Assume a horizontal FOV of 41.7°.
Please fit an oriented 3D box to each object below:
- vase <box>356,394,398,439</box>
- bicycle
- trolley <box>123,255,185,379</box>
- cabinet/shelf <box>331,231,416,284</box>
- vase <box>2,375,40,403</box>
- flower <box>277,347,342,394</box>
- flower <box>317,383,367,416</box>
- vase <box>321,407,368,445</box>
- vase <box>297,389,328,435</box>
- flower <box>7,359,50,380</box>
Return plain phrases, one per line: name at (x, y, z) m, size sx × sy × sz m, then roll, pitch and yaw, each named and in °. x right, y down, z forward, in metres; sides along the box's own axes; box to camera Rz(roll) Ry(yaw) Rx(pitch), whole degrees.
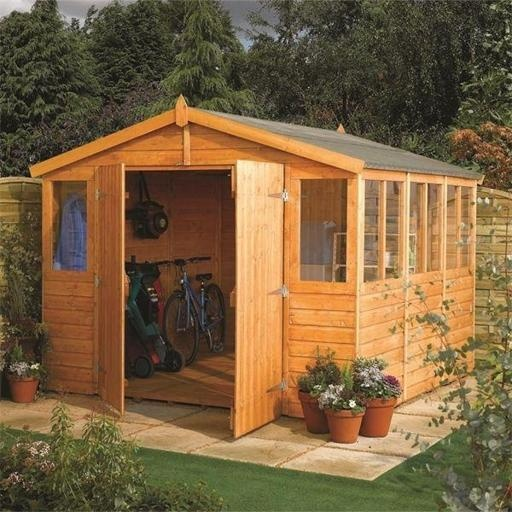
vase at (1.128, 1.513, 6.452) m, size 0.431 × 0.345 × 0.425 m, roll 1°, pitch -2°, yaw 1°
bicycle at (-0.895, 0.763, 9.991) m, size 1.024 × 1.441 × 2.259 m, roll -8°, pitch -2°, yaw 17°
trolley at (-1.355, 0.837, 8.700) m, size 0.704 × 1.520 × 0.531 m, roll 0°, pitch 1°, yaw -18°
cabinet/shelf at (1.238, -0.029, 7.272) m, size 0.267 × 0.571 × 1.230 m, roll 1°, pitch 2°, yaw 36°
vase at (-2.668, 1.524, 7.654) m, size 0.309 × 0.237 × 0.310 m, roll 0°, pitch -6°, yaw -2°
flower at (0.587, 1.124, 6.554) m, size 0.417 × 0.285 × 0.398 m, roll 6°, pitch 14°, yaw 27°
flower at (0.773, 1.308, 6.144) m, size 0.288 × 0.146 × 0.290 m, roll 1°, pitch 16°, yaw 0°
vase at (0.808, 1.550, 6.116) m, size 0.324 × 0.239 × 0.323 m, roll 0°, pitch -4°, yaw 3°
vase at (0.543, 1.520, 6.550) m, size 0.353 × 0.382 × 0.360 m, roll 0°, pitch -2°, yaw 10°
flower at (-2.632, 1.273, 7.766) m, size 0.268 × 0.153 × 0.277 m, roll 3°, pitch 2°, yaw -2°
